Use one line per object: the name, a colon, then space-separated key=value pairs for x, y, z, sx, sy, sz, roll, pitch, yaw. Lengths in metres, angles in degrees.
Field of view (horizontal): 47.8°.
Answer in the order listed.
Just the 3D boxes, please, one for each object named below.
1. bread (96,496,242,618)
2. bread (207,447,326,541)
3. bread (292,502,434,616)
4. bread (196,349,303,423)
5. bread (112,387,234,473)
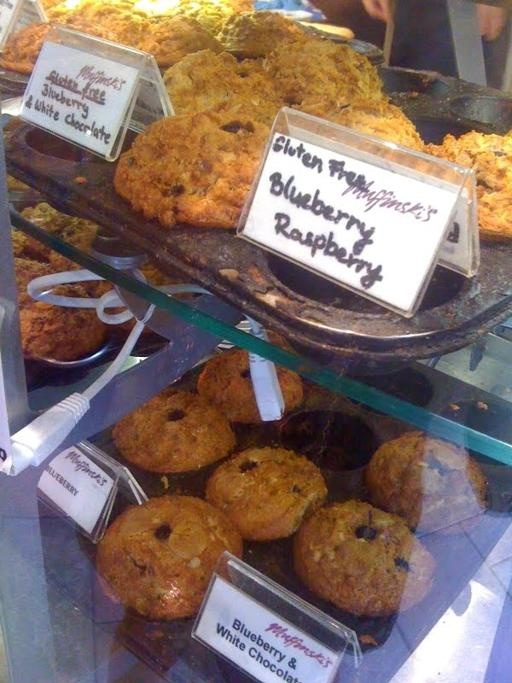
bread: x=-0.105 y=0.247 z=0.741 sx=0.200 sy=0.053 sz=0.177 roll=-4 pitch=32 yaw=1
bread: x=0.010 y=0.181 z=0.715 sx=0.119 sy=0.065 sz=0.110 roll=36 pitch=54 yaw=28
bread: x=0.117 y=0.248 z=0.653 sx=0.150 sy=0.079 sz=0.108 roll=30 pitch=51 yaw=24
bread: x=0.000 y=0.055 z=0.804 sx=0.156 sy=0.038 sz=0.112 roll=-13 pitch=56 yaw=-32
bread: x=-0.108 y=0.123 z=0.765 sx=0.127 sy=0.029 sz=0.121 roll=25 pitch=40 yaw=36
